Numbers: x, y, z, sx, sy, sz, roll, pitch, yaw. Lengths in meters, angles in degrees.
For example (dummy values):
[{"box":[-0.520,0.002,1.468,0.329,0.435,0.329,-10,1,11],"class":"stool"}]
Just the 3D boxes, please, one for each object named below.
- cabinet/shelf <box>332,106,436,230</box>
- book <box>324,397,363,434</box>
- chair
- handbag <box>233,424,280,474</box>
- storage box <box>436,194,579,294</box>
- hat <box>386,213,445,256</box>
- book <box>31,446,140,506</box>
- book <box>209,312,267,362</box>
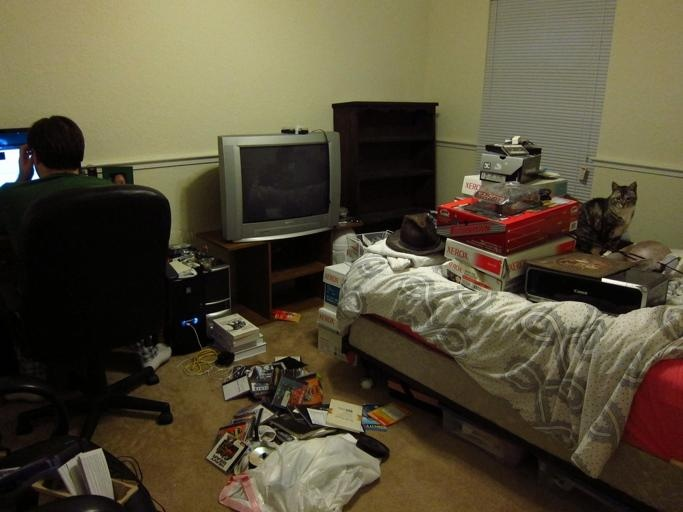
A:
[{"box":[0.340,-0.764,4.411,0.961,1.376,0.362,-8,15,-31],"class":"cabinet/shelf"},{"box":[0.022,0.872,2.819,0.131,0.033,0.142,13,14,17],"class":"book"},{"box":[-1.197,0.298,2.597,0.754,1.348,0.469,-11,21,-26],"class":"chair"},{"box":[-0.421,0.975,2.634,0.180,0.044,0.129,-29,11,29],"class":"handbag"},{"box":[0.931,-0.124,2.893,0.576,0.365,0.557,-19,25,-32],"class":"storage box"},{"box":[0.442,-0.152,3.081,0.285,0.114,0.261,-4,18,-29],"class":"hat"},{"box":[-0.924,0.784,1.911,0.228,0.073,0.234,29,25,25],"class":"book"},{"box":[-0.701,0.533,3.534,0.276,0.207,0.350,-15,23,-33],"class":"book"}]
